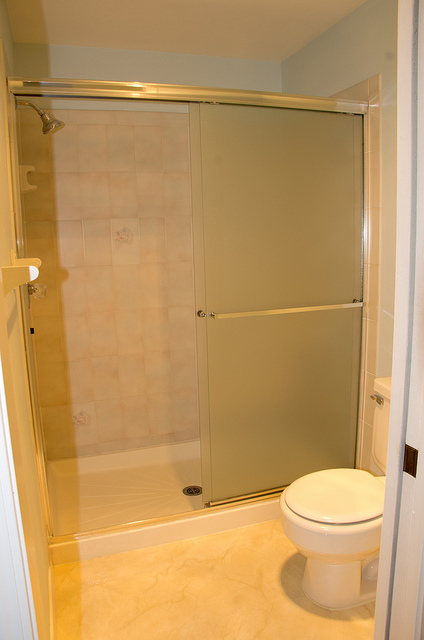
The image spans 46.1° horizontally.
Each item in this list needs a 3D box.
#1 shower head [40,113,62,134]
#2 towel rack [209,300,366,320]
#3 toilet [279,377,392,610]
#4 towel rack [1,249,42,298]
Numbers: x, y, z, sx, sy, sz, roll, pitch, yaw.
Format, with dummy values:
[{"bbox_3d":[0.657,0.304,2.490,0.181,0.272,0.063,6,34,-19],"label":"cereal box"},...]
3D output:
[{"bbox_3d":[-0.567,-0.694,1.750,0.062,0.070,0.114,-7,13,-24],"label":"shower head"},{"bbox_3d":[0.342,-0.045,2.152,0.751,0.043,0.025,-6,12,-20],"label":"towel rack"},{"bbox_3d":[0.500,0.605,1.738,0.516,0.717,0.364,-4,12,-4],"label":"toilet"},{"bbox_3d":[-0.517,-0.122,1.354,0.076,0.097,0.269,-2,8,-8],"label":"towel rack"}]
